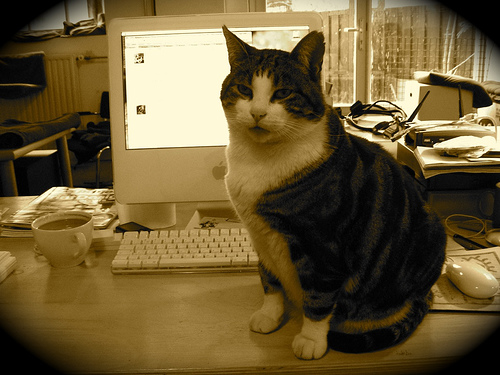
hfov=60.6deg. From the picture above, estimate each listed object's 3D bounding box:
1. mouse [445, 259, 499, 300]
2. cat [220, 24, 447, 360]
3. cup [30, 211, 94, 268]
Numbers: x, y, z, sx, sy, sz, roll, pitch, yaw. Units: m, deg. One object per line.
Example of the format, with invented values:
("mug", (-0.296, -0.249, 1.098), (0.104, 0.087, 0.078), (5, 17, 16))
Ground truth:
("mouse", (0.420, 0.173, 0.814), (0.056, 0.051, 0.091), (-15, 21, -37))
("cat", (0.151, 0.007, 0.799), (0.385, 0.532, 0.318), (-6, 14, -22))
("cup", (-0.405, 0.122, 0.945), (0.123, 0.101, 0.151), (-9, 17, -35))
